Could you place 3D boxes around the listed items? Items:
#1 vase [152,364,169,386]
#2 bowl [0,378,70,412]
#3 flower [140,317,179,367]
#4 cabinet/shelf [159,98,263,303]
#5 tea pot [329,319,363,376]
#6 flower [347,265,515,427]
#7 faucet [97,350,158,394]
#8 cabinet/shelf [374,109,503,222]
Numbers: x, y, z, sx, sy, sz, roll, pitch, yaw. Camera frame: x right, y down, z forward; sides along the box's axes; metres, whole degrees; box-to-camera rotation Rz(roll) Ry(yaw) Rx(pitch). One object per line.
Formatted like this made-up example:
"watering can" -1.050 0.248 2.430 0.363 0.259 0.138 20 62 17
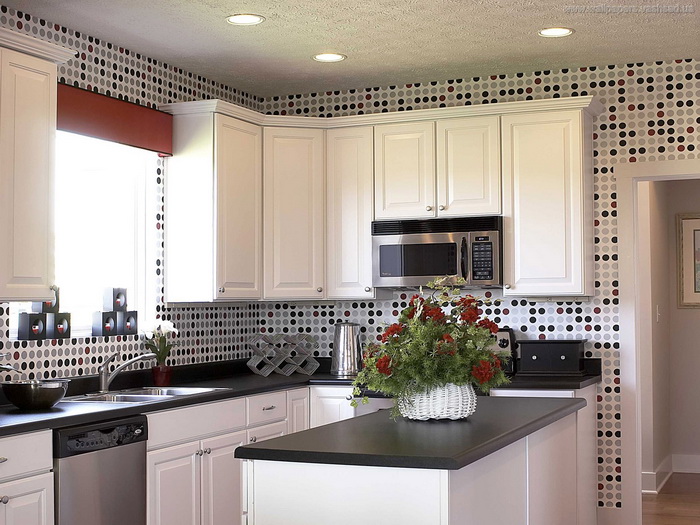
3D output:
"vase" -1.230 0.745 3.799 0.122 0.134 0.121 -1 -2 30
"bowl" -1.537 0.647 2.805 0.200 0.153 0.249 -2 -3 41
"flower" -1.276 0.557 3.890 0.319 0.315 0.290 -6 -9 33
"cabinet/shelf" -1.019 -0.409 4.292 0.546 1.455 0.745 2 2 27
"tea pot" -0.024 0.693 4.470 0.307 0.440 0.364 3 -6 -27
"flower" 0.362 0.342 2.514 0.707 0.622 0.708 -3 -1 11
"faucet" -1.396 0.676 3.561 0.306 0.239 0.517 1 -2 -28
"cabinet/shelf" 0.794 -0.724 4.508 1.134 0.813 0.408 -6 10 -19
